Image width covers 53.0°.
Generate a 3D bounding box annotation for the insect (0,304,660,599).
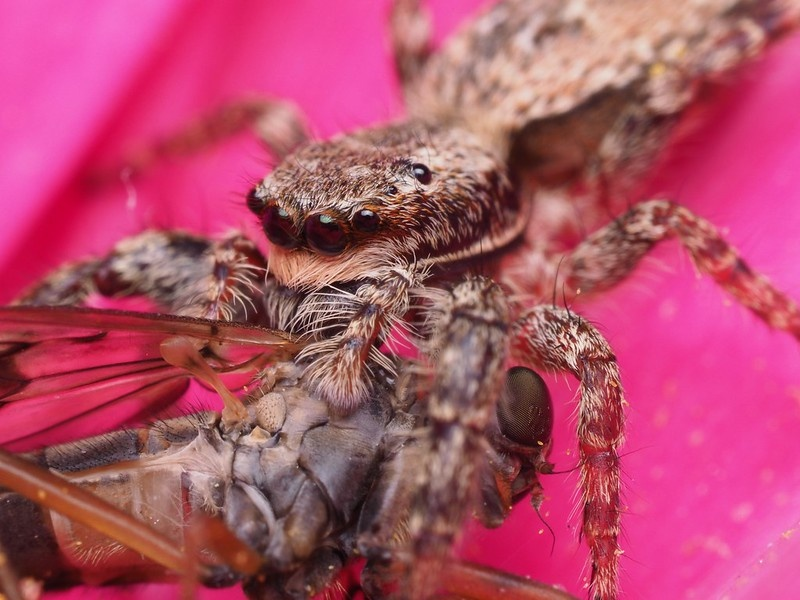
[{"bbox_3d":[-0.134,0.167,0.813,0.436,0.131,0.313,9,60,-12],"label":"insect"}]
